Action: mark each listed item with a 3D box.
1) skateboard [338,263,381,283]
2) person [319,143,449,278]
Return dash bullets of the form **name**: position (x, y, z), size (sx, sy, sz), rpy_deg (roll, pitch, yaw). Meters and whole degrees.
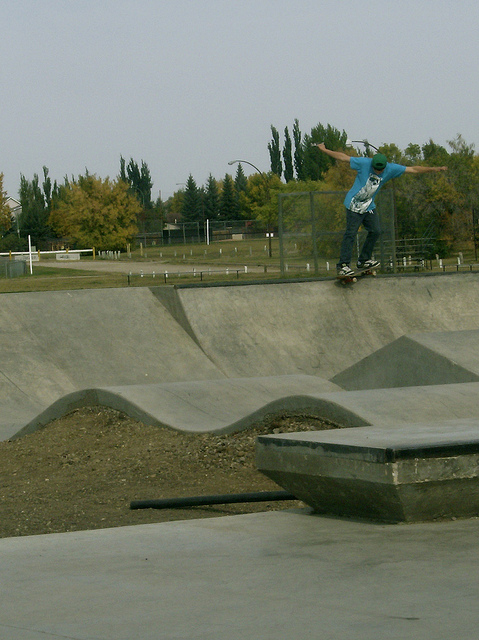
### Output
- **skateboard**: position (1.331, -0.540, 11.492), size (0.158, 0.111, 0.635), rpy_deg (-6, 11, 44)
- **person**: position (1.287, -1.113, 10.918), size (1.120, 1.339, 0.822), rpy_deg (-7, 6, -30)
